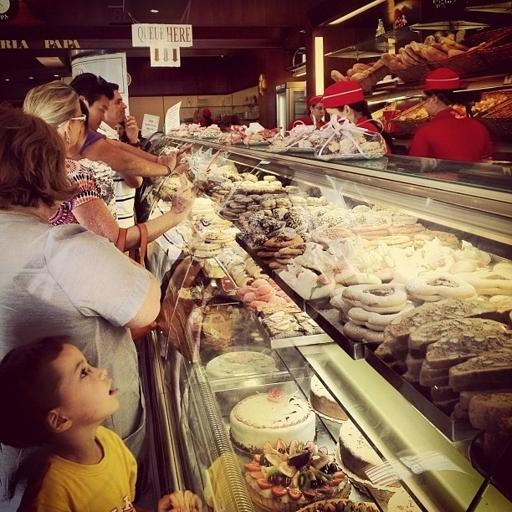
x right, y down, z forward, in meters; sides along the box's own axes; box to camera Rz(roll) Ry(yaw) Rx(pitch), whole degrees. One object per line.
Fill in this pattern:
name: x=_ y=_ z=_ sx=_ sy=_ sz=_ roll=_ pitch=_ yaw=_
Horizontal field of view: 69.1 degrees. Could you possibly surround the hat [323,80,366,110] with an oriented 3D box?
hat: x=0.676 y=-1.231 z=2.874 sx=0.289 sy=0.142 sz=0.191 roll=-1 pitch=27 yaw=23
